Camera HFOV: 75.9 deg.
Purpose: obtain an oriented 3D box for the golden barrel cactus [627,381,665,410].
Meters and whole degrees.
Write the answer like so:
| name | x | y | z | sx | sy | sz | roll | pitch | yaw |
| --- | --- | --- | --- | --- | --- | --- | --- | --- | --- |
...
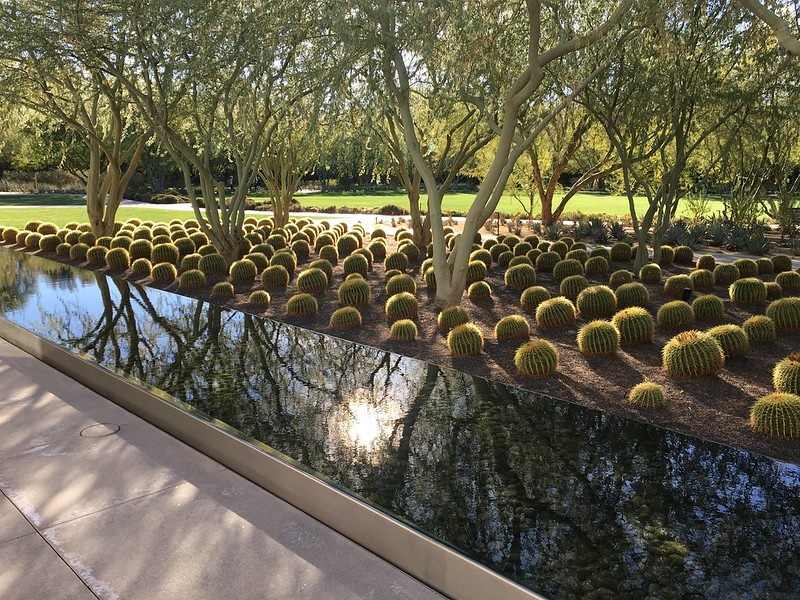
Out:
| name | x | y | z | sx | sy | sz | roll | pitch | yaw |
| --- | --- | --- | --- | --- | --- | --- | --- | --- | --- |
| golden barrel cactus | 2.789 | 1.053 | 5.731 | 0.396 | 0.230 | 0.317 | 10 | 14 | 27 |

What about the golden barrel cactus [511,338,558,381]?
| name | x | y | z | sx | sy | sz | roll | pitch | yaw |
| --- | --- | --- | --- | --- | --- | --- | --- | --- | --- |
| golden barrel cactus | 1.780 | 0.756 | 6.621 | 0.518 | 0.444 | 0.554 | -17 | 15 | -13 |

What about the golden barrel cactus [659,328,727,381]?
| name | x | y | z | sx | sy | sz | roll | pitch | yaw |
| --- | --- | --- | --- | --- | --- | --- | --- | --- | --- |
| golden barrel cactus | 3.752 | 0.698 | 6.586 | 0.655 | 0.484 | 0.628 | -19 | 4 | -25 |

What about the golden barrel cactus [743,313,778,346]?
| name | x | y | z | sx | sy | sz | roll | pitch | yaw |
| --- | --- | --- | --- | --- | --- | --- | --- | --- | --- |
| golden barrel cactus | 5.416 | 0.403 | 7.628 | 0.412 | 0.459 | 0.430 | -7 | 12 | 25 |

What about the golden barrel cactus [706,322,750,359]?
| name | x | y | z | sx | sy | sz | roll | pitch | yaw |
| --- | --- | --- | --- | --- | --- | --- | --- | --- | --- |
| golden barrel cactus | 4.533 | 0.514 | 7.012 | 0.421 | 0.303 | 0.484 | -5 | 8 | 10 |

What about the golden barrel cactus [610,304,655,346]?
| name | x | y | z | sx | sy | sz | roll | pitch | yaw |
| --- | --- | --- | --- | --- | --- | --- | --- | --- | --- |
| golden barrel cactus | 3.713 | 0.364 | 7.700 | 0.402 | 0.451 | 0.417 | -23 | -1 | -43 |

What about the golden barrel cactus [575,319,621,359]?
| name | x | y | z | sx | sy | sz | roll | pitch | yaw |
| --- | --- | --- | --- | --- | --- | --- | --- | --- | --- |
| golden barrel cactus | 2.782 | 0.591 | 7.166 | 0.468 | 0.373 | 0.492 | -9 | 13 | 32 |

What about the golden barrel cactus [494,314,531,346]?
| name | x | y | z | sx | sy | sz | roll | pitch | yaw |
| --- | --- | --- | --- | --- | --- | --- | --- | --- | --- |
| golden barrel cactus | 1.731 | 0.449 | 7.873 | 0.404 | 0.274 | 0.421 | -6 | 13 | 31 |
